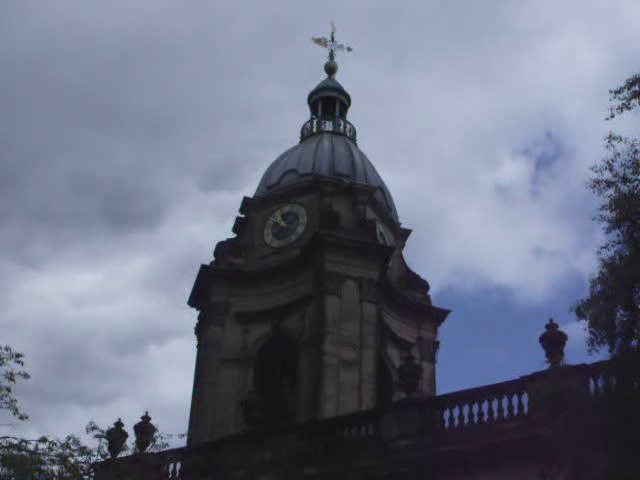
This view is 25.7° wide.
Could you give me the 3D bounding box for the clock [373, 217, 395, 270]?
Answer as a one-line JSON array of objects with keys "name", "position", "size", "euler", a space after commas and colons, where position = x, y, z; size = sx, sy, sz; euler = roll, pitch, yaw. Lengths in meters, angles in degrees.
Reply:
[{"name": "clock", "position": [2.773, 0.159, 62.914], "size": [0.175, 1.932, 1.526], "euler": [-19, -52, 15]}]
